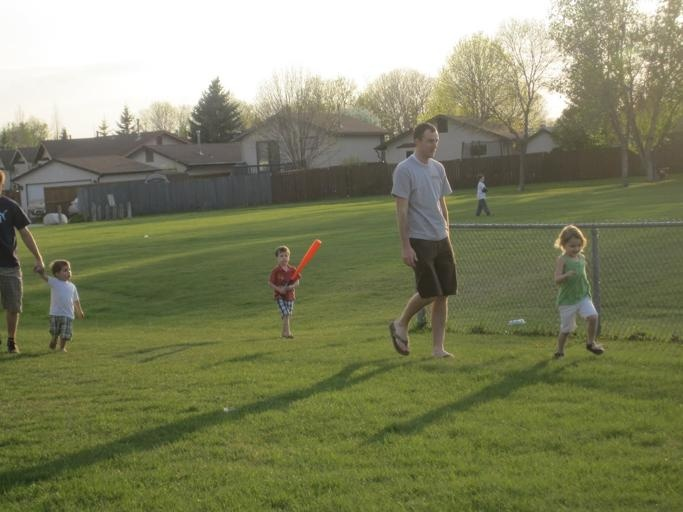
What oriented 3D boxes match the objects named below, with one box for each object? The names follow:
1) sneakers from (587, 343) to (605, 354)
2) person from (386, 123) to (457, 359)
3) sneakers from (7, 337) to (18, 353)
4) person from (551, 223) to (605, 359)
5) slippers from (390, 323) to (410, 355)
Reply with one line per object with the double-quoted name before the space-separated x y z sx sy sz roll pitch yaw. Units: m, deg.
"sneakers" 2.680 0.962 7.926 0.248 0.119 0.090 4 0 -41
"person" 0.840 -0.148 7.903 0.692 2.442 0.520 -3 8 -9
"sneakers" -3.856 1.033 8.884 0.114 0.181 0.138 -5 9 -25
"person" 2.467 0.381 7.930 0.498 1.345 0.503 0 8 11
"slippers" 0.608 0.905 8.139 0.161 0.398 0.121 -18 11 -34
